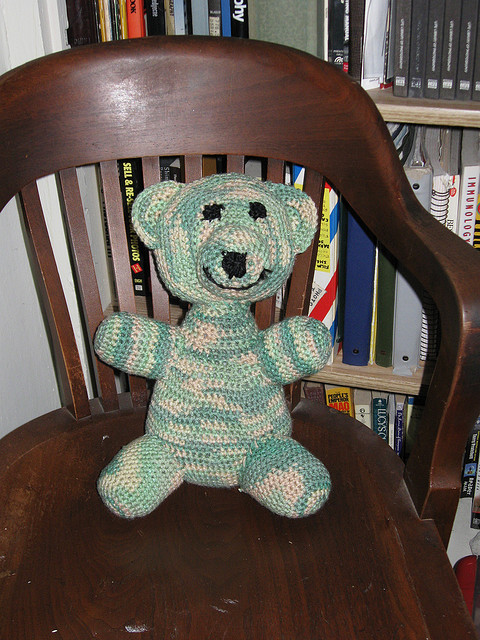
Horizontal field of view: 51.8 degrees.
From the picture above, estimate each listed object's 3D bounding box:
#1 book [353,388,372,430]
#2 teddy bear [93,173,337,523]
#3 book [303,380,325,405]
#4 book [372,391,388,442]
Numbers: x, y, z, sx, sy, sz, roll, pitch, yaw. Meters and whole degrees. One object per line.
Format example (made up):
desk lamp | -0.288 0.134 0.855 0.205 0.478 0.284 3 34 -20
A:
book | 0.278 0.199 1.125 0.041 0.073 0.054 1 26 8
teddy bear | -0.028 0.023 0.505 0.226 0.321 0.191 0 16 -7
book | 0.172 0.166 1.142 0.057 0.028 0.080 5 11 5
book | 0.327 0.215 1.130 0.032 0.087 0.088 -1 -4 24
